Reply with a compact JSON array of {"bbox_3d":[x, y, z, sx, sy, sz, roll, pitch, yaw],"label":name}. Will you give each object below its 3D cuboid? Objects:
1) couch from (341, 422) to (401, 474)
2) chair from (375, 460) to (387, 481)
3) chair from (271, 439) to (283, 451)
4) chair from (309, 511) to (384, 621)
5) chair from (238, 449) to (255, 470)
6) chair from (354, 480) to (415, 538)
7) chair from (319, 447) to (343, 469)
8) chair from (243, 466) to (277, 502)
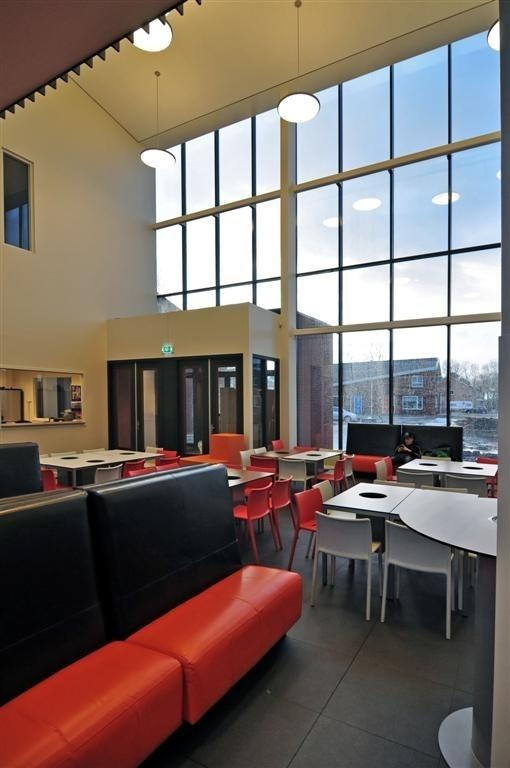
[{"bbox_3d":[2.215,1.087,9.638,1.224,0.804,1.290,2,4,23],"label":"couch"},{"bbox_3d":[1.618,0.989,6.484,0.121,0.187,0.624,6,6,11],"label":"chair"},{"bbox_3d":[0.454,0.982,9.064,0.139,0.225,0.162,-1,2,-26],"label":"chair"},{"bbox_3d":[0.838,1.192,4.106,0.529,0.978,0.643,0,-1,30],"label":"chair"},{"bbox_3d":[-0.084,1.047,7.851,0.163,0.335,0.204,0,0,-41],"label":"chair"},{"bbox_3d":[1.139,0.979,4.500,0.373,0.232,0.581,-1,2,28],"label":"chair"},{"bbox_3d":[1.205,1.037,7.977,0.250,0.419,0.319,0,-7,11],"label":"chair"},{"bbox_3d":[0.089,1.057,6.065,0.252,0.489,0.294,-1,-8,35],"label":"chair"}]
